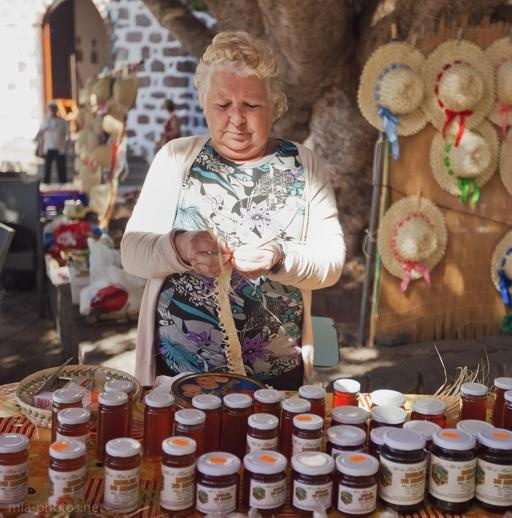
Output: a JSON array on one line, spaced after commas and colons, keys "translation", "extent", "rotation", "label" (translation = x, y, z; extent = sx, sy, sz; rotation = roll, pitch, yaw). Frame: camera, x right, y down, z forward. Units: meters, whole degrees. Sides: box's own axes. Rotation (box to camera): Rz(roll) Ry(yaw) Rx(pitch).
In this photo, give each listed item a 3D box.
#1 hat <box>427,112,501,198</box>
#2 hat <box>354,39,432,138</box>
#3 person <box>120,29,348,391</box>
[{"translation": [1.305, -0.648, 4.418], "extent": [0.521, 0.439, 0.124], "rotation": [-17, 23, -8], "label": "hat"}, {"translation": [0.854, -1.050, 4.335], "extent": [0.431, 0.562, 0.232], "rotation": [0, 4, 3], "label": "hat"}, {"translation": [-0.068, -0.173, 2.606], "extent": [0.833, 1.337, 0.531], "rotation": [-1, 4, -16], "label": "person"}]
